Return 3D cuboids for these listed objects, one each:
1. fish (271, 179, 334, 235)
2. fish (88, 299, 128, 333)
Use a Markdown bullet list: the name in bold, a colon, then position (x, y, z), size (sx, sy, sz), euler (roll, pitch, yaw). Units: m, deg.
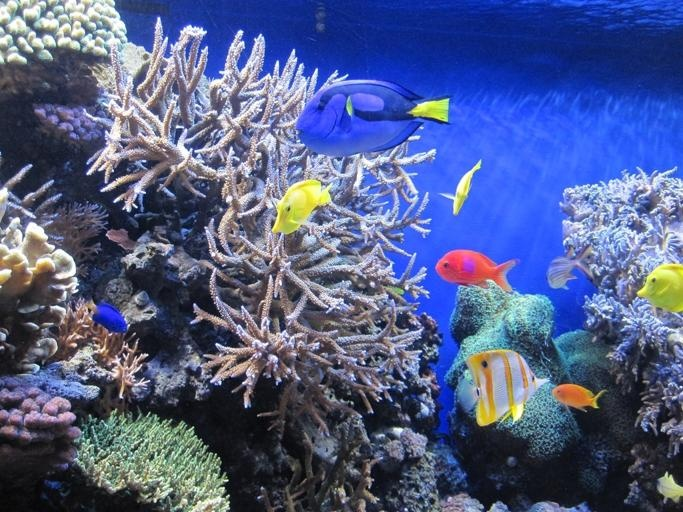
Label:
- **fish**: position (-0.377, -0.459, 6.476), size (0.450, 0.443, 0.196), euler (19, 14, -38)
- **fish**: position (-2.386, 0.628, 7.008), size (0.470, 0.237, 0.107), euler (29, 10, 6)
